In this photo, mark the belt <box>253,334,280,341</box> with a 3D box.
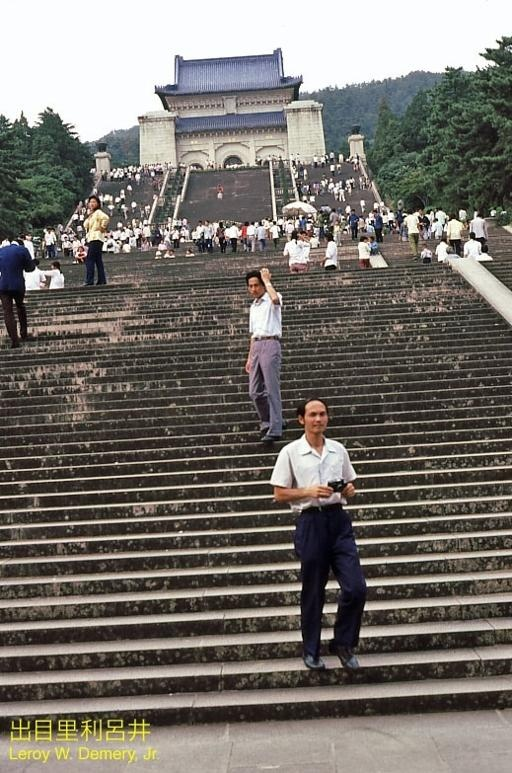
[{"bbox_3d":[0.077,-0.344,5.759,0.170,0.033,0.089,-5,6,-3],"label":"belt"}]

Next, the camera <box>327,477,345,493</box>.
[{"bbox_3d":[0.340,0.423,3.445,0.058,0.073,0.095,-1,6,21],"label":"camera"}]

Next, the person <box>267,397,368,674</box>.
[{"bbox_3d":[0.267,0.679,3.562,0.372,1.250,0.332,-3,5,3],"label":"person"}]

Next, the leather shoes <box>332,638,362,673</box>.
[{"bbox_3d":[0.398,1.213,3.675,0.188,0.075,0.068,45,-4,26],"label":"leather shoes"}]

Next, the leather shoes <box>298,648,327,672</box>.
[{"bbox_3d":[0.262,1.263,3.762,0.048,0.109,0.129,-1,-4,-35],"label":"leather shoes"}]

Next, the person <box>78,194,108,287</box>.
[{"bbox_3d":[-2.196,-1.999,11.328,0.345,1.163,1.643,-4,6,-11],"label":"person"}]

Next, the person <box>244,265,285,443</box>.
[{"bbox_3d":[0.053,-0.193,5.839,0.228,1.241,0.367,-6,6,-30],"label":"person"}]

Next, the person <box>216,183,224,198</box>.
[{"bbox_3d":[-1.744,-9.768,40.981,0.371,0.628,0.963,-2,1,-2],"label":"person"}]
